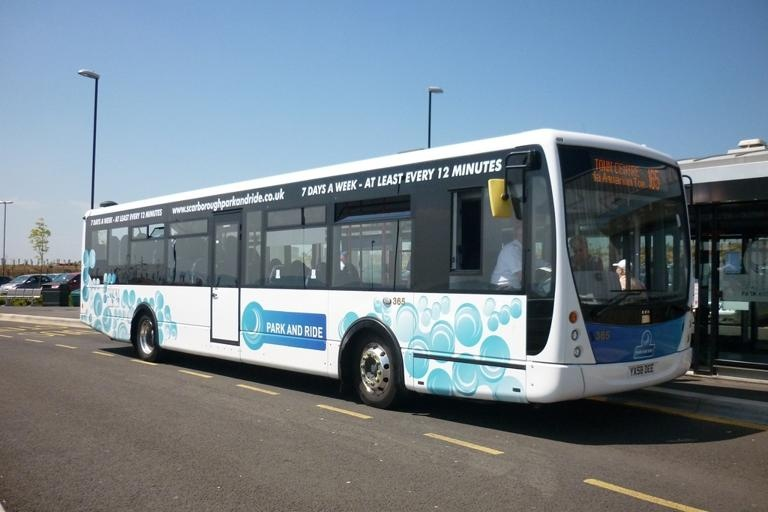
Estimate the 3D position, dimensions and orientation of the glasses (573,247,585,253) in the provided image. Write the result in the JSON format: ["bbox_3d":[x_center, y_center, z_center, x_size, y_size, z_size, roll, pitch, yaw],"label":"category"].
[{"bbox_3d":[2.739,-0.078,7.893,0.192,0.086,0.035,-1,2,-32],"label":"glasses"}]

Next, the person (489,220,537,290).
[{"bbox_3d":[1.941,0.013,8.337,0.603,1.276,0.734,1,-11,34],"label":"person"}]

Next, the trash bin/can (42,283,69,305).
[{"bbox_3d":[-20.950,2.458,35.508,2.075,1.329,0.911,1,2,27],"label":"trash bin/can"}]

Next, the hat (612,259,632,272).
[{"bbox_3d":[3.499,0.132,8.251,0.209,0.124,0.141,17,-4,-11],"label":"hat"}]
